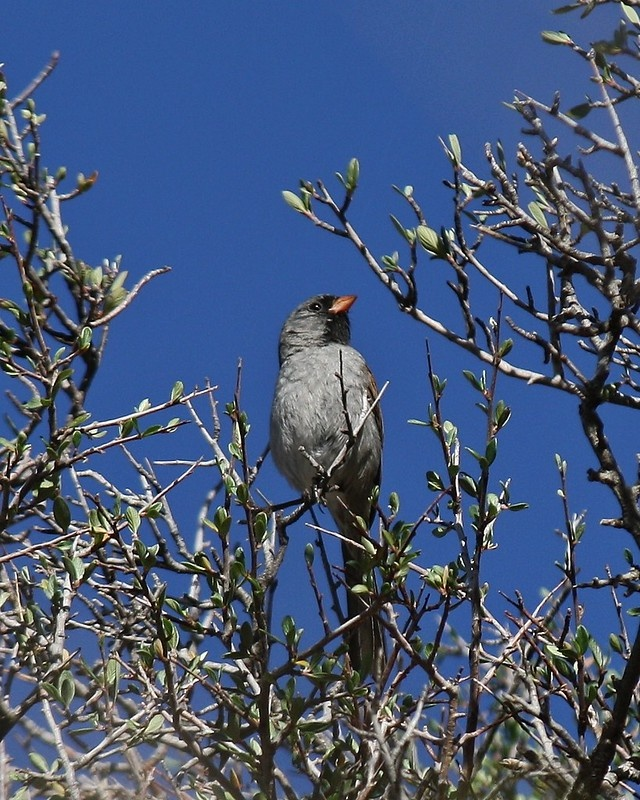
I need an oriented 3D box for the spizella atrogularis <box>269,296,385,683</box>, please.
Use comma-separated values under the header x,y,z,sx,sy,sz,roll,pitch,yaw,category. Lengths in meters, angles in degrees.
x,y,z,sx,sy,sz,roll,pitch,yaw,category
0.055,0.237,6.894,0.428,1.997,0.786,-6,-18,-3,spizella atrogularis
